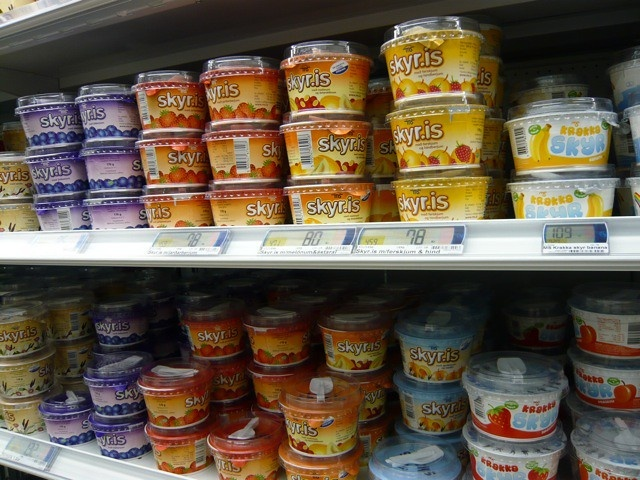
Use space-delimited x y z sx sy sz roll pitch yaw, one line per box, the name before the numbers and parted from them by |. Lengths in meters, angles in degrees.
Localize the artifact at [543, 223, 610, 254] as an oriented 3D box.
artifact | 0.586 -0.004 1.102 0.040 0.098 0.159 8 -9 -37
